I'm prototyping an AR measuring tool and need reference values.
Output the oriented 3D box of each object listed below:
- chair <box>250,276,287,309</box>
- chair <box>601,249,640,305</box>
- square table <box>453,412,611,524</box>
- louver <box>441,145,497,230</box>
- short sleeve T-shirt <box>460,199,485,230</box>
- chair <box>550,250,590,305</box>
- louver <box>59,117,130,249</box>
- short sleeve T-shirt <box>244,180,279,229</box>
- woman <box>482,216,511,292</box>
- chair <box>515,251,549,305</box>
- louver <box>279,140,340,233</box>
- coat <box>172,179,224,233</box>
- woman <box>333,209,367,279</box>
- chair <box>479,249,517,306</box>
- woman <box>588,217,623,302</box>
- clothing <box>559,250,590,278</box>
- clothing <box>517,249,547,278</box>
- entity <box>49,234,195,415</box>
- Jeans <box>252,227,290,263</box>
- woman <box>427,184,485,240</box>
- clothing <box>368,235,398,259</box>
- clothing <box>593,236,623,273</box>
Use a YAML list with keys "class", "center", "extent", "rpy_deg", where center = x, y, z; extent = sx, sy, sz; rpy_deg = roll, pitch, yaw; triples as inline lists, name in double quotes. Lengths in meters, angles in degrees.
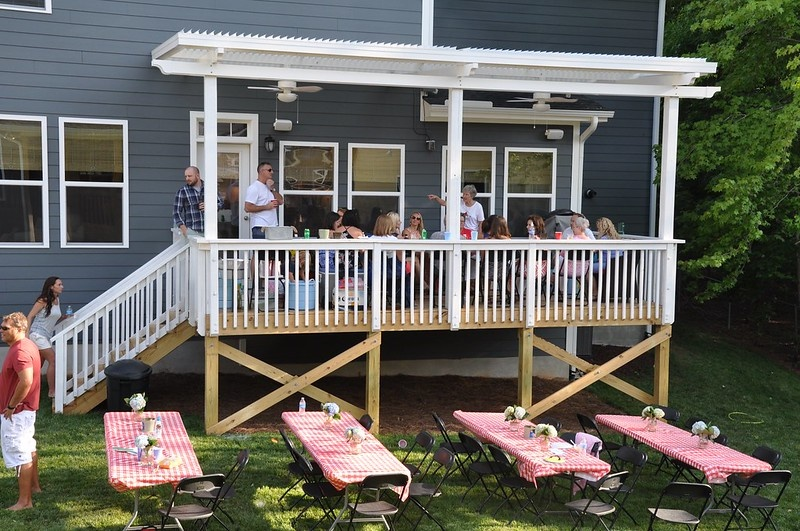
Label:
- class: "chair"
  center: [-2.385, 0.516, 18.919]
  extent: [0.582, 0.383, 0.594]
  rpy_deg: [-2, 11, -13]
- class: "chair"
  center: [4.485, 0.183, 20.661]
  extent: [1.178, 0.835, 1.344]
  rpy_deg: [-1, -4, 13]
- class: "square table"
  center: [2.233, 3.152, 17.392]
  extent: [1.162, 0.863, 2.664]
  rpy_deg: [-1, 6, -30]
- class: "louver"
  center: [1.488, -1.761, 22.654]
  extent: [1.256, 1.738, 0.078]
  rpy_deg: [4, 19, 13]
- class: "short sleeve T-shirt"
  center: [1.438, -1.022, 21.179]
  extent: [0.649, 0.650, 0.349]
  rpy_deg: [-1, -5, -2]
- class: "chair"
  center: [3.290, 0.217, 20.050]
  extent: [0.519, 0.926, 0.642]
  rpy_deg: [5, 17, -2]
- class: "louver"
  center: [-6.113, -1.638, 20.805]
  extent: [1.309, 2.628, 0.109]
  rpy_deg: [-1, 12, -20]
- class: "short sleeve T-shirt"
  center: [-2.683, -1.166, 20.085]
  extent: [0.559, 0.981, 1.003]
  rpy_deg: [0, 5, 20]
- class: "woman"
  center: [1.863, -0.228, 19.980]
  extent: [0.525, 1.468, 1.701]
  rpy_deg: [2, 5, 4]
- class: "chair"
  center: [2.348, 0.185, 19.428]
  extent: [0.448, 0.734, 0.546]
  rpy_deg: [20, 3, -18]
- class: "louver"
  center: [-1.957, -1.527, 21.829]
  extent: [1.246, 2.366, 0.110]
  rpy_deg: [0, 27, -6]
- class: "coat"
  center: [-3.961, -1.131, 20.129]
  extent: [0.586, 1.074, 1.043]
  rpy_deg: [-1, 1, 41]
- class: "woman"
  center: [-1.063, -0.341, 19.999]
  extent: [0.461, 1.346, 0.530]
  rpy_deg: [12, -15, -9]
- class: "chair"
  center: [1.864, 0.197, 19.797]
  extent: [0.555, 0.917, 0.608]
  rpy_deg: [-5, -5, 35]
- class: "woman"
  center: [4.051, -0.136, 20.518]
  extent: [0.705, 1.620, 0.907]
  rpy_deg: [-2, 3, -35]
- class: "clothing"
  center: [3.291, -0.039, 19.768]
  extent: [0.684, 0.486, 0.912]
  rpy_deg: [-1, -13, 2]
- class: "clothing"
  center: [2.473, -0.036, 19.540]
  extent: [0.489, 0.272, 0.669]
  rpy_deg: [1, -2, 9]
- class: "entity"
  center: [-5.249, 1.050, 19.771]
  extent: [2.499, 3.225, 2.305]
  rpy_deg: [1, 5, -13]
- class: "Jeans"
  center: [-2.409, -0.374, 19.378]
  extent: [0.714, 0.769, 1.776]
  rpy_deg: [1, 5, -9]
- class: "woman"
  center: [1.256, -0.804, 21.615]
  extent: [1.073, 1.950, 0.582]
  rpy_deg: [0, 30, 10]
- class: "clothing"
  center: [-0.238, -0.352, 19.310]
  extent: [0.465, 0.454, 0.119]
  rpy_deg: [2, -16, -8]
- class: "clothing"
  center: [3.921, -0.170, 20.046]
  extent: [0.756, 0.731, 0.518]
  rpy_deg: [1, 9, 4]
